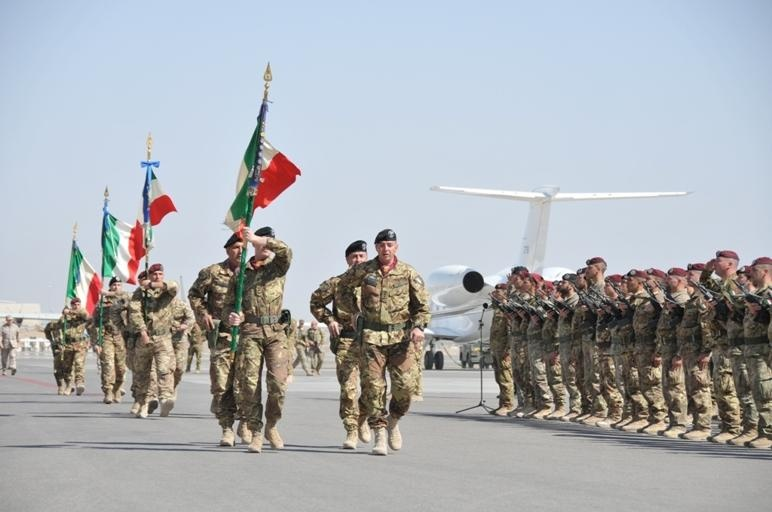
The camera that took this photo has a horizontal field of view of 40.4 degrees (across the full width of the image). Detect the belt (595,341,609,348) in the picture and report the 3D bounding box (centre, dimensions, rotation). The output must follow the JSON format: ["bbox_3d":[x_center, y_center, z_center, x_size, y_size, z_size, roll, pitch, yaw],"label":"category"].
[{"bbox_3d":[3.908,1.621,18.959,0.171,0.128,0.043,5,0,22],"label":"belt"}]

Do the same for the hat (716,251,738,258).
[{"bbox_3d":[4.541,0.001,14.001,0.250,0.078,0.179,13,1,30],"label":"hat"}]

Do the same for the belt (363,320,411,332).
[{"bbox_3d":[-0.015,1.027,15.038,0.708,0.161,0.079,2,-8,-2],"label":"belt"}]

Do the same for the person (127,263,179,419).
[{"bbox_3d":[-4.417,1.627,19.775,0.893,2.869,0.839,3,-9,-9],"label":"person"}]

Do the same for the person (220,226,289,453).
[{"bbox_3d":[-1.790,1.232,15.174,0.981,3.204,0.955,6,-10,-27],"label":"person"}]

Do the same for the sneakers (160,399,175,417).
[{"bbox_3d":[-4.097,2.849,19.651,0.211,0.236,0.557,9,-40,-16],"label":"sneakers"}]

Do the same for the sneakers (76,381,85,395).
[{"bbox_3d":[-7.538,3.335,25.769,0.190,0.230,0.557,3,-30,-21],"label":"sneakers"}]

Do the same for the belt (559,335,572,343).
[{"bbox_3d":[3.390,1.596,19.899,0.266,0.129,0.031,-4,-10,36],"label":"belt"}]

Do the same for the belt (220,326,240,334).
[{"bbox_3d":[-2.350,1.109,15.467,0.179,0.072,0.219,2,-7,-11],"label":"belt"}]

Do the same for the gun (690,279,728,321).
[{"bbox_3d":[5.065,0.735,16.486,0.835,0.127,0.307,45,5,34],"label":"gun"}]

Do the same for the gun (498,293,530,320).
[{"bbox_3d":[2.589,1.029,21.080,0.359,0.222,0.787,6,17,-25],"label":"gun"}]

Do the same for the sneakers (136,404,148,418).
[{"bbox_3d":[-4.610,2.944,19.821,0.199,0.240,0.278,4,-8,-15],"label":"sneakers"}]

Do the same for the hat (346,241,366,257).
[{"bbox_3d":[-0.401,-0.060,16.045,0.348,0.159,0.452,1,-6,-18],"label":"hat"}]

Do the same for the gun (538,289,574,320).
[{"bbox_3d":[3.367,0.992,20.461,0.219,0.422,1.257,19,6,-22],"label":"gun"}]

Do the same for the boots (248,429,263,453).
[{"bbox_3d":[-1.891,2.685,15.075,0.195,0.294,0.283,3,-8,-6],"label":"boots"}]

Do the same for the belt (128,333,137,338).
[{"bbox_3d":[-4.862,1.557,20.104,0.172,0.105,0.154,2,4,12],"label":"belt"}]

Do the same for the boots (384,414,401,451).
[{"bbox_3d":[0.092,2.631,15.471,0.215,0.522,0.246,-8,1,9],"label":"boots"}]

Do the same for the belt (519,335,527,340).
[{"bbox_3d":[2.753,1.666,21.159,0.183,0.081,0.162,3,0,9],"label":"belt"}]

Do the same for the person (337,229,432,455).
[{"bbox_3d":[0.008,1.262,15.111,1.139,3.207,0.692,2,-9,-1],"label":"person"}]

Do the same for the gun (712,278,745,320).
[{"bbox_3d":[5.267,0.682,15.950,0.253,0.564,0.502,-2,7,-43],"label":"gun"}]

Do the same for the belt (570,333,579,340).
[{"bbox_3d":[3.524,1.534,19.694,0.210,0.164,0.109,1,1,-18],"label":"belt"}]

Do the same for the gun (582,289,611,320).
[{"bbox_3d":[3.746,0.871,19.128,0.241,0.347,0.774,-17,29,-17],"label":"gun"}]

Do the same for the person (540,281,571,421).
[{"bbox_3d":[3.304,1.943,20.230,0.486,2.441,0.649,4,-9,-17],"label":"person"}]

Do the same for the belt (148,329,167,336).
[{"bbox_3d":[-4.320,1.468,19.806,0.354,0.122,0.101,3,-8,-13],"label":"belt"}]

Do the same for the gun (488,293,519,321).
[{"bbox_3d":[2.432,1.036,21.380,0.279,0.280,0.796,-8,29,-40],"label":"gun"}]

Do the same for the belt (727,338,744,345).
[{"bbox_3d":[5.258,1.309,15.774,0.138,0.086,0.129,2,6,9],"label":"belt"}]

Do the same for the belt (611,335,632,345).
[{"bbox_3d":[4.102,1.489,18.294,0.194,0.132,0.241,2,-7,-25],"label":"belt"}]

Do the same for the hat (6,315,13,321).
[{"bbox_3d":[-13.778,2.324,38.421,0.296,0.215,0.222,-5,7,-27],"label":"hat"}]

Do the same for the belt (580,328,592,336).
[{"bbox_3d":[3.686,1.414,19.323,0.187,0.139,0.046,9,2,19],"label":"belt"}]
